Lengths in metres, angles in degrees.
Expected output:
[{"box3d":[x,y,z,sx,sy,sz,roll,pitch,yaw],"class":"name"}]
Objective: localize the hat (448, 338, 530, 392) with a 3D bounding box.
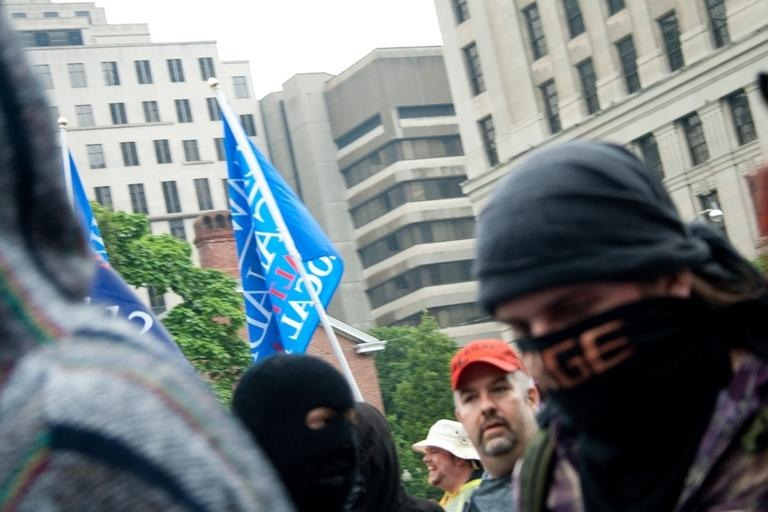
[{"box3d":[0.437,0.459,5.662,0.342,0.157,0.367,-8,-14,8],"class":"hat"}]
